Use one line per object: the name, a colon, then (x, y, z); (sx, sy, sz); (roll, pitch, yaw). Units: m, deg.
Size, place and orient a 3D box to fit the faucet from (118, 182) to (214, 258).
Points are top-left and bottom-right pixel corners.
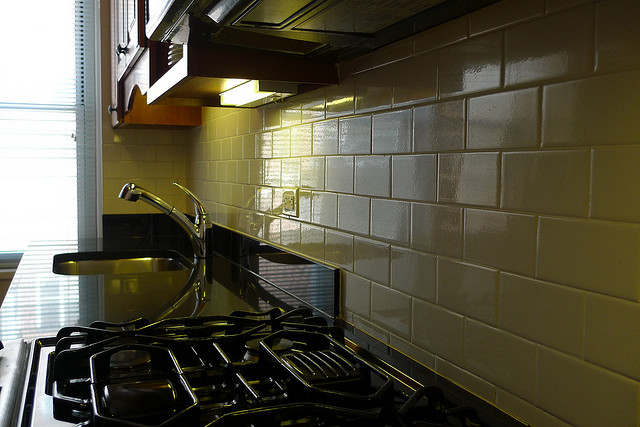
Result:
faucet: (-0.669, 0.026, 2.156); (0.467, 0.297, 0.089); (9, 11, 11)
